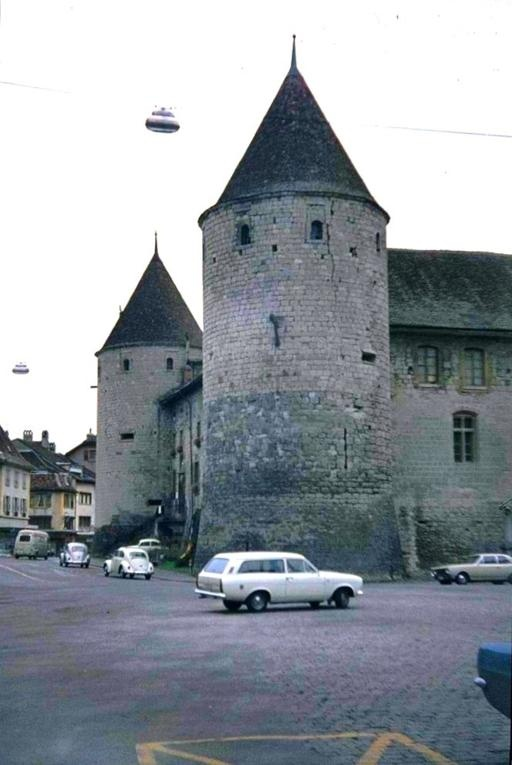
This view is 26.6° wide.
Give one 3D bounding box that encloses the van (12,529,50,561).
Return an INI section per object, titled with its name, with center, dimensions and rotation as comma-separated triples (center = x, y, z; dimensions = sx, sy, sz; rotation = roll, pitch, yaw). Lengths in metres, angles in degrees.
[van]
center = -13.261, 9.777, 63.476
dimensions = 1.317, 1.639, 2.608
rotation = 0, -3, 8

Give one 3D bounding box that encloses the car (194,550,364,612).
[car]
center = 0.463, 3.944, 21.288
dimensions = 2.903, 1.144, 1.349
rotation = 0, -4, -25
